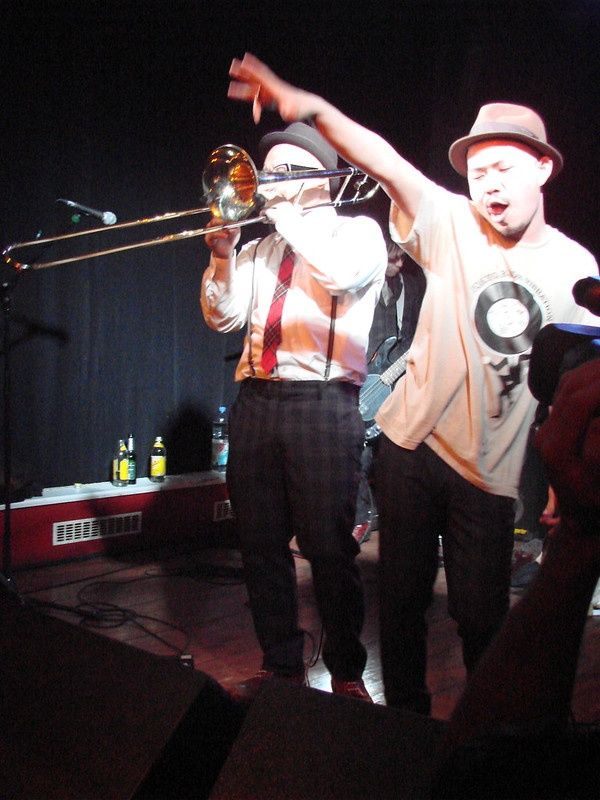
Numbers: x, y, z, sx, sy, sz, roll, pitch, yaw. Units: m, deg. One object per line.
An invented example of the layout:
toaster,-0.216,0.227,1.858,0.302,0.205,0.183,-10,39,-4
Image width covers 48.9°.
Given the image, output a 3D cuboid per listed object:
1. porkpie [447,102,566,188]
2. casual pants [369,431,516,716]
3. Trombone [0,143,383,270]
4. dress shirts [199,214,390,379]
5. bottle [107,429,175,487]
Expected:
porkpie,0.297,-0.374,0.940,0.139,0.076,0.174,14,2,32
casual pants,0.212,0.284,1.040,0.205,0.486,0.132,11,4,34
Trombone,-0.351,-0.549,1.821,0.223,0.216,1.071,46,37,11
dress shirts,-0.032,-0.224,1.425,0.338,0.430,0.242,-12,-18,25
bottle,-0.644,0.248,2.639,0.214,0.243,0.223,-2,-9,2
